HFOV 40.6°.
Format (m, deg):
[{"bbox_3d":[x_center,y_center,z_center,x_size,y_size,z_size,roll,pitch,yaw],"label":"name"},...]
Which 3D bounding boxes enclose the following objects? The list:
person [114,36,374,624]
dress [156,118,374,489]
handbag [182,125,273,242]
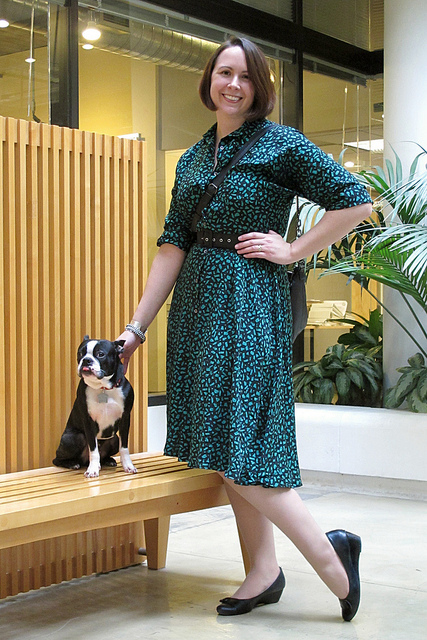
[{"bbox_3d":[0.060,0.044,1.384,0.603,1.378,0.360,7,7,29],"label":"person"},{"bbox_3d":[0.072,-0.056,1.400,0.315,0.854,0.504,-1,7,-31],"label":"dress"},{"bbox_3d":[0.039,-0.305,1.303,0.042,0.371,0.042,22,-18,49],"label":"handbag"}]
